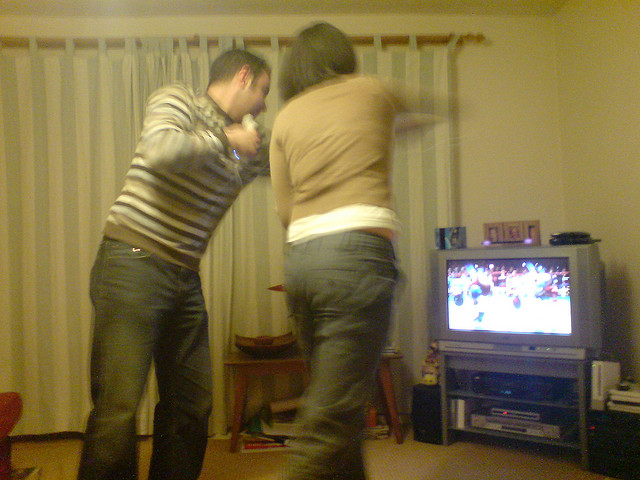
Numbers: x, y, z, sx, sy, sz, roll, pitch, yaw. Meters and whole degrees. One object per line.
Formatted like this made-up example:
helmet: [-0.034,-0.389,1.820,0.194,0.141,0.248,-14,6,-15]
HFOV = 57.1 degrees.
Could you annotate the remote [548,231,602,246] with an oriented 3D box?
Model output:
remote: [1.122,0.006,2.584,0.209,0.047,0.124,2,1,19]

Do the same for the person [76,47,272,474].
person: [-0.406,0.079,1.700,0.524,1.268,0.220,1,1,-20]

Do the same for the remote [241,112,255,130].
remote: [-0.207,-0.328,1.713,0.048,0.053,0.026,2,-29,-10]

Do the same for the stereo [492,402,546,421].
stereo: [0.897,0.773,2.655,0.225,0.046,0.109,2,1,18]

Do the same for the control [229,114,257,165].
control: [-0.227,-0.283,1.700,0.085,0.149,0.049,1,1,-26]

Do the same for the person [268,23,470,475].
person: [0.083,0.024,1.577,0.452,1.199,0.217,2,1,9]

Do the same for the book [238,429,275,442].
book: [-0.278,0.878,2.629,0.164,0.030,0.022,2,1,22]

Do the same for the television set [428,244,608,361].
television set: [0.970,0.303,2.770,0.832,0.484,0.453,-4,-4,39]
